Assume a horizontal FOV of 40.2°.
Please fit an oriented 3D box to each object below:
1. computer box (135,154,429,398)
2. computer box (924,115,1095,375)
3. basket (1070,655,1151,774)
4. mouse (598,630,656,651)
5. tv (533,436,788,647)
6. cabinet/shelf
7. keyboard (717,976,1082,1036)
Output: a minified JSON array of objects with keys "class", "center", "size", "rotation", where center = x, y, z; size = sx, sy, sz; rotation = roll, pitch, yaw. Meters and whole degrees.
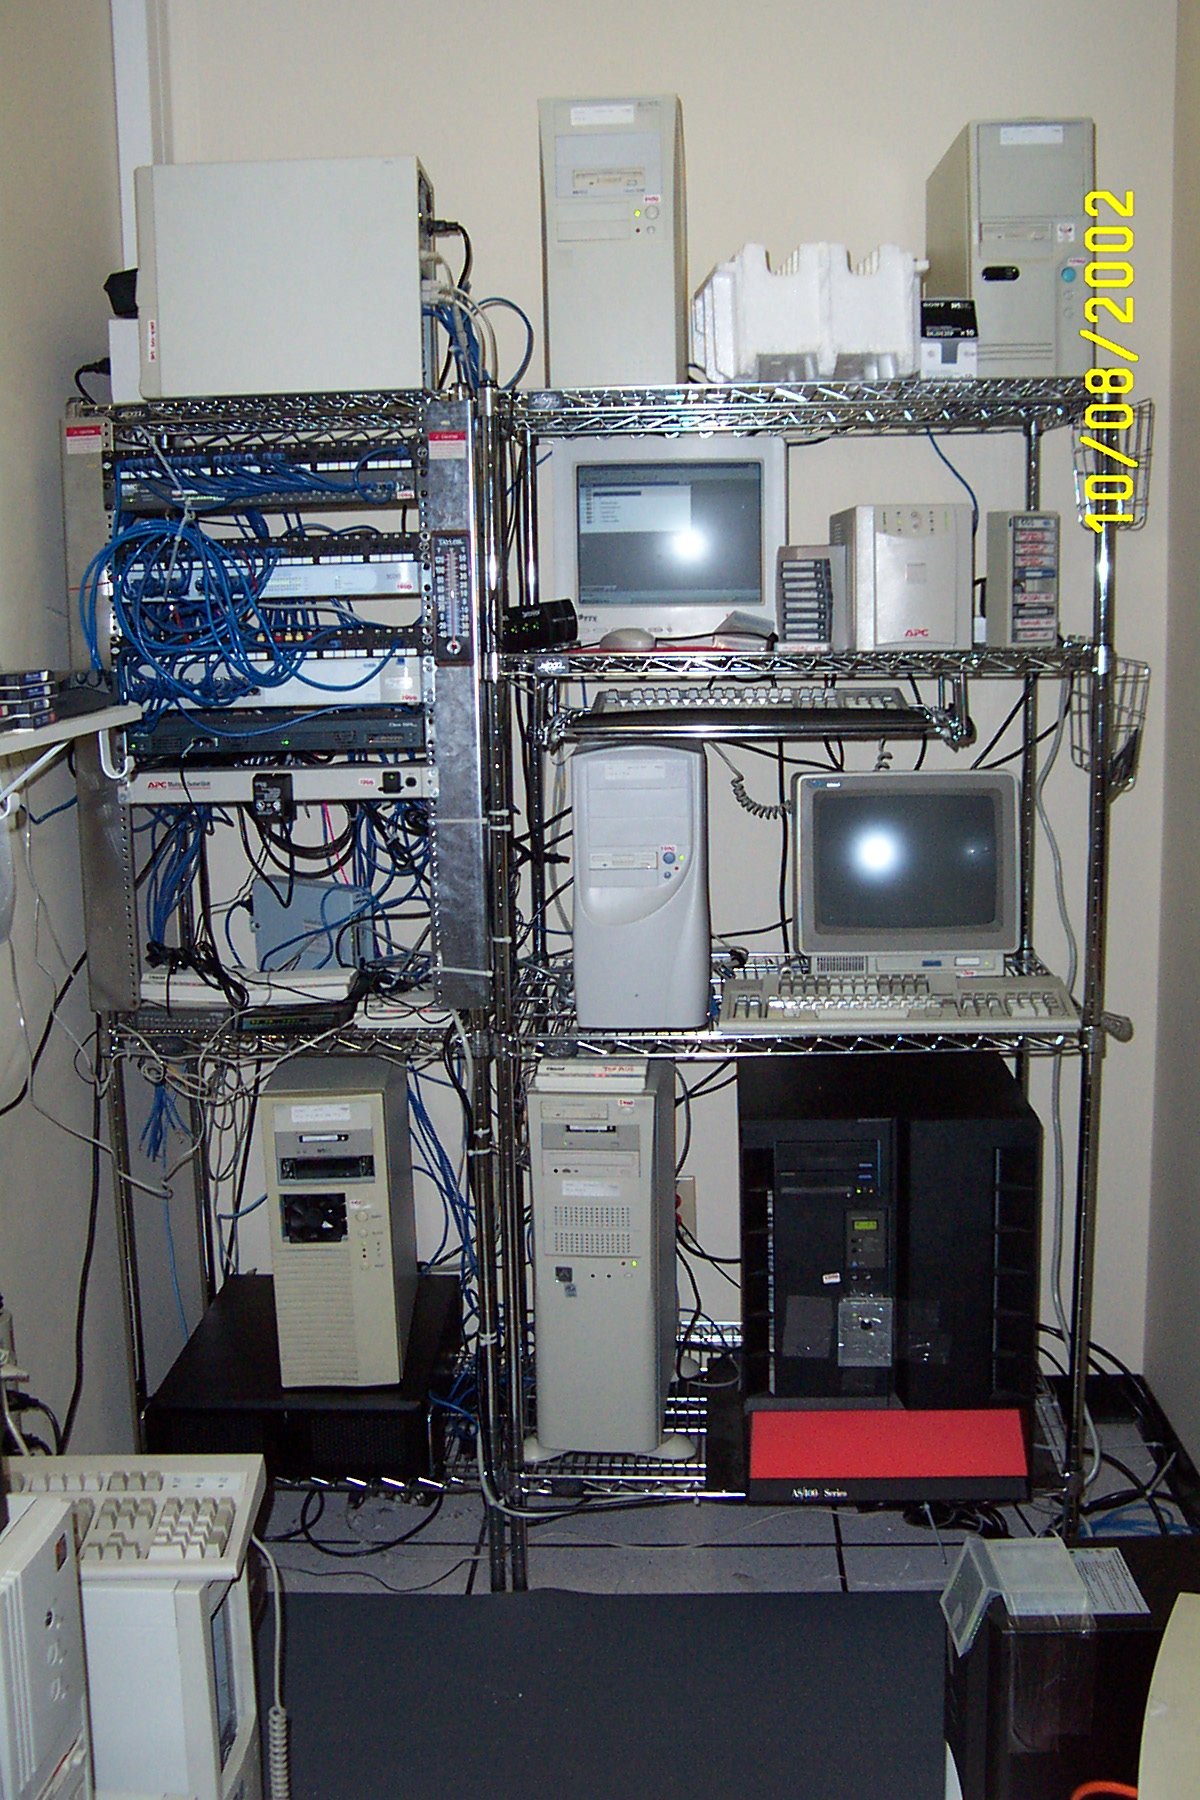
[{"class":"computer box","center":[-0.457,-0.885,2.444],"size":[0.503,0.405,0.290],"rotation":[0,10,0]},{"class":"computer box","center":[0.625,-0.985,2.538],"size":[0.199,0.368,0.307],"rotation":[-1,10,2]},{"class":"basket","center":[0.839,-0.316,2.693],"size":[0.105,0.209,0.115],"rotation":[-3,47,8]},{"class":"mouse","center":[0.038,-0.409,2.564],"size":[0.067,0.024,0.072],"rotation":[1,21,6]},{"class":"tv","center":[0.096,-0.585,2.855],"size":[0.498,0.497,0.287],"rotation":[1,8,4]},{"class":"cabinet/shelf","center":[0.031,0.087,2.622],"size":[1.759,2.330,0.711],"rotation":[0,6,1]},{"class":"keyboard","center":[0.455,0.162,2.559],"size":[0.545,0.062,0.247],"rotation":[-1,11,4]}]
